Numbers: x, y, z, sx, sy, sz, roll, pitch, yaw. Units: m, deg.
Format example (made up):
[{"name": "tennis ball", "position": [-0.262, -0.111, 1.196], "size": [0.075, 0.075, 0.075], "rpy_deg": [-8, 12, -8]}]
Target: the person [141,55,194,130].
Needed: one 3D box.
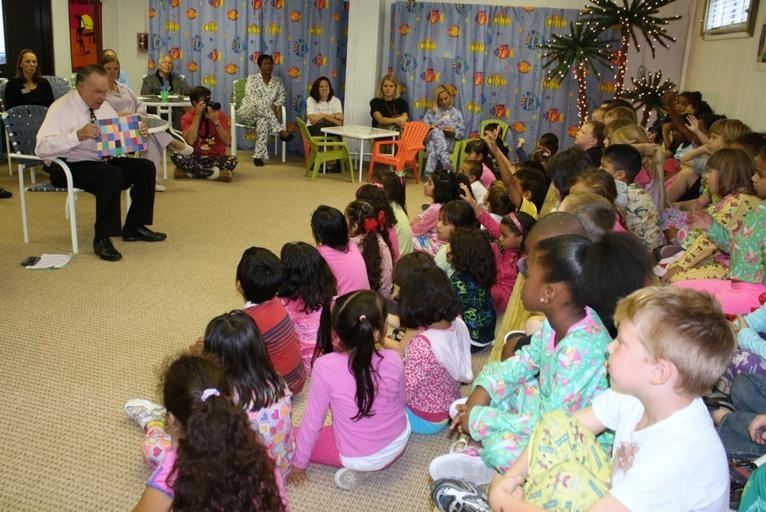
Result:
[{"name": "person", "position": [-3.236, -2.372, 8.226], "size": [0.638, 1.171, 0.643], "rpy_deg": [-6, 14, -33]}]

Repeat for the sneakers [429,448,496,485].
[{"name": "sneakers", "position": [0.310, 0.856, 2.222], "size": [0.270, 0.114, 0.121], "rpy_deg": [10, 25, 4]}]

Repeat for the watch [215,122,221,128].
[{"name": "watch", "position": [-2.127, -1.680, 7.063], "size": [0.041, 0.022, 0.059], "rpy_deg": [-12, 57, -30]}]

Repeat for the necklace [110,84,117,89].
[{"name": "necklace", "position": [-2.556, -1.611, 5.214], "size": [0.041, 0.056, 0.056], "rpy_deg": [0, 9, -7]}]

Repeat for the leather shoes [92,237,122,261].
[{"name": "leather shoes", "position": [-2.231, -0.065, 4.450], "size": [0.120, 0.136, 0.305], "rpy_deg": [-18, 29, -40]}]

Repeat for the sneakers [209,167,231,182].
[{"name": "sneakers", "position": [-2.139, -1.041, 7.065], "size": [0.364, 0.133, 0.148], "rpy_deg": [-3, 8, 11]}]

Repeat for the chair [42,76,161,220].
[{"name": "chair", "position": [-2.404, -0.871, 4.551], "size": [0.772, 1.338, 0.545], "rpy_deg": [1, 14, 1]}]

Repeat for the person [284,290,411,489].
[{"name": "person", "position": [-0.202, 0.563, 2.684], "size": [0.576, 0.858, 0.754], "rpy_deg": [-3, 13, -5]}]

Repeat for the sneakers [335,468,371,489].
[{"name": "sneakers", "position": [-0.154, 0.997, 2.447], "size": [0.088, 0.054, 0.144], "rpy_deg": [-6, -16, 30]}]

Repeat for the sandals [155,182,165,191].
[{"name": "sandals", "position": [-2.597, -0.798, 6.359], "size": [0.095, 0.115, 0.264], "rpy_deg": [-3, 4, -27]}]

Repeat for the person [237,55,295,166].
[{"name": "person", "position": [-1.749, -2.184, 8.268], "size": [0.731, 1.600, 0.718], "rpy_deg": [-10, 18, -39]}]

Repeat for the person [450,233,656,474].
[{"name": "person", "position": [0.581, 0.375, 2.222], "size": [0.702, 0.900, 0.693], "rpy_deg": [7, 15, 42]}]

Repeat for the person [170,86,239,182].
[{"name": "person", "position": [-2.250, -1.549, 7.001], "size": [0.744, 1.118, 0.909], "rpy_deg": [3, 17, 8]}]

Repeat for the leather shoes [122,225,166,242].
[{"name": "leather shoes", "position": [-2.123, -0.214, 4.881], "size": [0.383, 0.172, 0.145], "rpy_deg": [-2, 9, -11]}]
